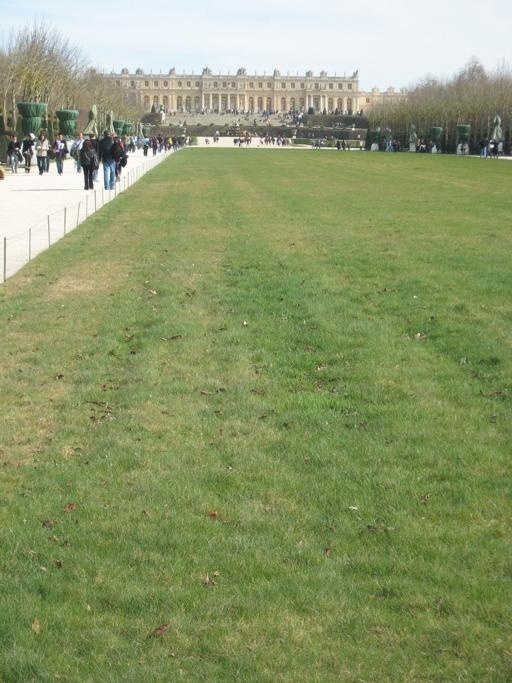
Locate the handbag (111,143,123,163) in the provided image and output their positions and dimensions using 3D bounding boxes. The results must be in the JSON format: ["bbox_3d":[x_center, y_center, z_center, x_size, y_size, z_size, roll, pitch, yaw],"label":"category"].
[{"bbox_3d":[-3.909,-5.347,28.704,0.332,0.606,0.532,0,-4,-14],"label":"handbag"}]
